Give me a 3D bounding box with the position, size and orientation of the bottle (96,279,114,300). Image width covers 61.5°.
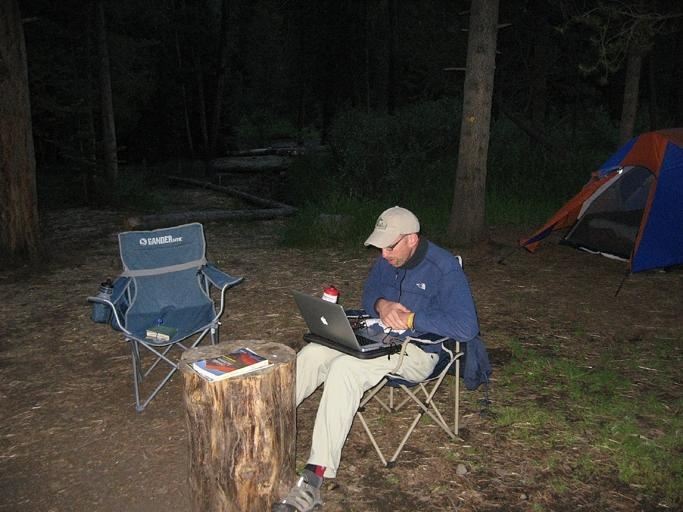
[{"bbox_3d":[-2.285,0.326,5.569,0.155,0.167,0.156,17,10,7],"label":"bottle"}]

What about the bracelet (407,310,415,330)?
[{"bbox_3d":[0.540,0.509,4.488,0.055,0.137,0.096,-4,14,-17],"label":"bracelet"}]

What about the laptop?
[{"bbox_3d":[0.081,0.481,4.468,0.765,0.433,0.564,12,18,40],"label":"laptop"}]

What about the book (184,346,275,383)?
[{"bbox_3d":[-0.797,0.781,4.093,0.493,0.083,0.365,-8,15,-33],"label":"book"}]

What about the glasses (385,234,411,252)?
[{"bbox_3d":[0.438,-0.108,4.534,0.037,0.128,0.123,14,-16,-39],"label":"glasses"}]

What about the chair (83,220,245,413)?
[{"bbox_3d":[-1.698,0.286,5.645,1.076,1.037,1.226,0,13,1],"label":"chair"}]

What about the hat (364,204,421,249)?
[{"bbox_3d":[0.404,-0.249,4.569,0.421,0.245,0.274,-20,24,-32],"label":"hat"}]
